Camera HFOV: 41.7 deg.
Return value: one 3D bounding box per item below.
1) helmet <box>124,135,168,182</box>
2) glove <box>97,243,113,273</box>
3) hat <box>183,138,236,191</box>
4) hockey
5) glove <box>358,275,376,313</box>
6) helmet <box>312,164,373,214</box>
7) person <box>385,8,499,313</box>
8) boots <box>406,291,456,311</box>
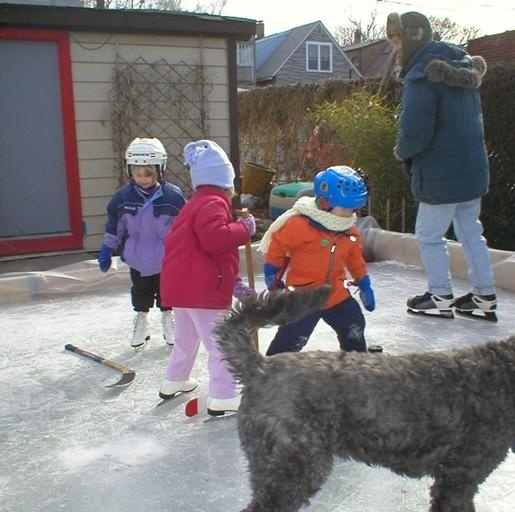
[{"bbox_3d":[-0.695,-0.647,4.600,0.291,0.298,0.331,0,14,1],"label":"helmet"},{"bbox_3d":[-1.061,0.017,4.690,0.117,0.178,0.096,15,7,41],"label":"glove"},{"bbox_3d":[-0.314,-0.496,3.743,0.328,0.252,0.227,-3,9,-11],"label":"hat"},{"bbox_3d":[-0.981,0.675,4.280,0.231,0.115,0.738,-11,11,-32],"label":"hockey"},{"bbox_3d":[0.613,0.218,3.822,0.069,0.177,0.135,-10,-9,-13],"label":"glove"},{"bbox_3d":[0.435,-0.358,3.676,0.217,0.171,0.299,-23,34,-33],"label":"helmet"},{"bbox_3d":[1.349,-0.639,4.964,0.698,2.259,0.434,-2,12,17],"label":"person"},{"bbox_3d":[1.287,0.346,5.120,0.352,0.148,0.125,6,10,34],"label":"boots"}]
